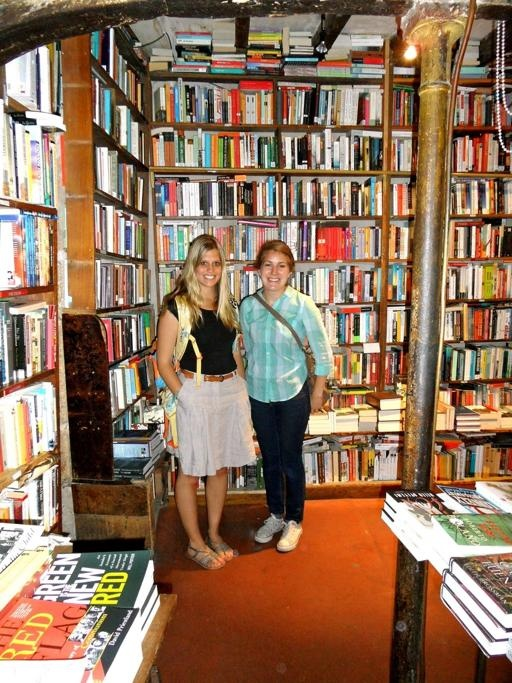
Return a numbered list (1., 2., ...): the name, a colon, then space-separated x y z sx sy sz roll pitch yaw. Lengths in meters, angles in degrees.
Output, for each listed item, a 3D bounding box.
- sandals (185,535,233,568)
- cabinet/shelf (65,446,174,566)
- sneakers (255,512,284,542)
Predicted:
1. sandals: -0.229 1.015 2.539 0.156 0.046 0.128 -1 1 40
2. cabinet/shelf: -0.634 0.795 2.501 0.353 0.321 0.260 0 1 6
3. sneakers: 0.076 0.994 2.819 0.077 0.089 0.228 34 10 21
